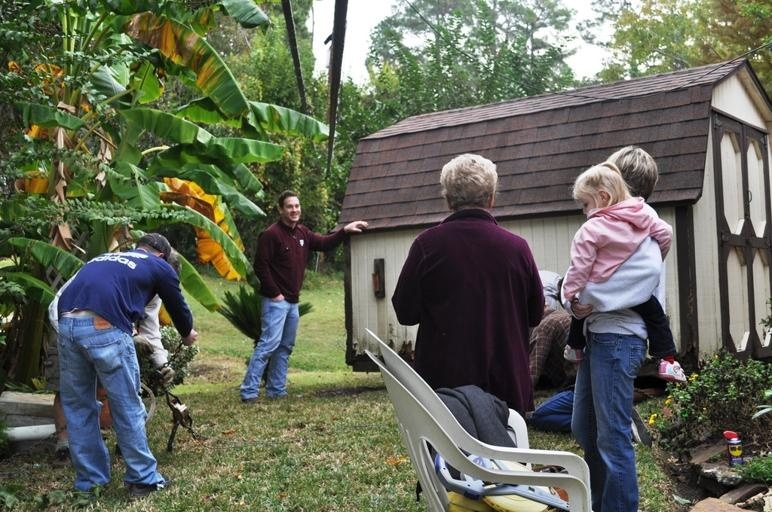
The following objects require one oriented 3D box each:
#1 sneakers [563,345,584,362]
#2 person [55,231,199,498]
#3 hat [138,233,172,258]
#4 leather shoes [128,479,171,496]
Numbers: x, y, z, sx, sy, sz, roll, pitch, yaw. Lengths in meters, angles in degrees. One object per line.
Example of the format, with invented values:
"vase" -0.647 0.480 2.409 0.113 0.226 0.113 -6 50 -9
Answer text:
"sneakers" 1.888 0.997 8.508 0.188 0.211 0.190 -7 -7 34
"person" -2.867 1.253 9.091 1.283 2.542 0.696 -5 9 -21
"hat" -2.573 -0.144 9.435 0.333 0.197 0.233 29 -5 -38
"leather shoes" -2.575 2.496 9.037 0.358 0.167 0.172 -8 6 -34
